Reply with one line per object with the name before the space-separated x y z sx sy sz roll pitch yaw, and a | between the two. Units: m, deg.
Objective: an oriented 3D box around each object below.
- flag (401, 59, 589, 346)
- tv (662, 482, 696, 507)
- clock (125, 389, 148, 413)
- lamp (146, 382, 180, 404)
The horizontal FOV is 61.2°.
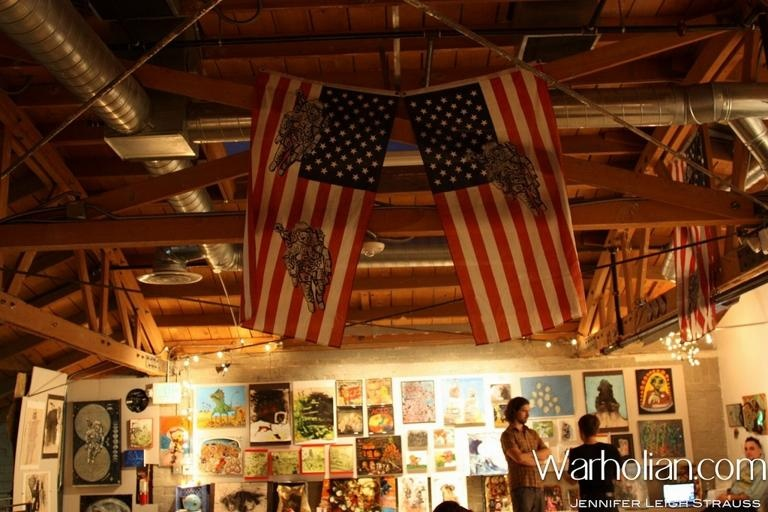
flag | 1.205 -0.554 6.741 1.338 2.789 0.783 -8 -23 12
tv | 5.450 4.390 12.005 0.527 0.375 1.717 -11 -22 20
clock | -5.421 3.164 14.234 0.529 0.526 0.133 -5 -22 5
lamp | -4.748 2.975 14.068 0.525 0.299 0.508 -2 -12 1
